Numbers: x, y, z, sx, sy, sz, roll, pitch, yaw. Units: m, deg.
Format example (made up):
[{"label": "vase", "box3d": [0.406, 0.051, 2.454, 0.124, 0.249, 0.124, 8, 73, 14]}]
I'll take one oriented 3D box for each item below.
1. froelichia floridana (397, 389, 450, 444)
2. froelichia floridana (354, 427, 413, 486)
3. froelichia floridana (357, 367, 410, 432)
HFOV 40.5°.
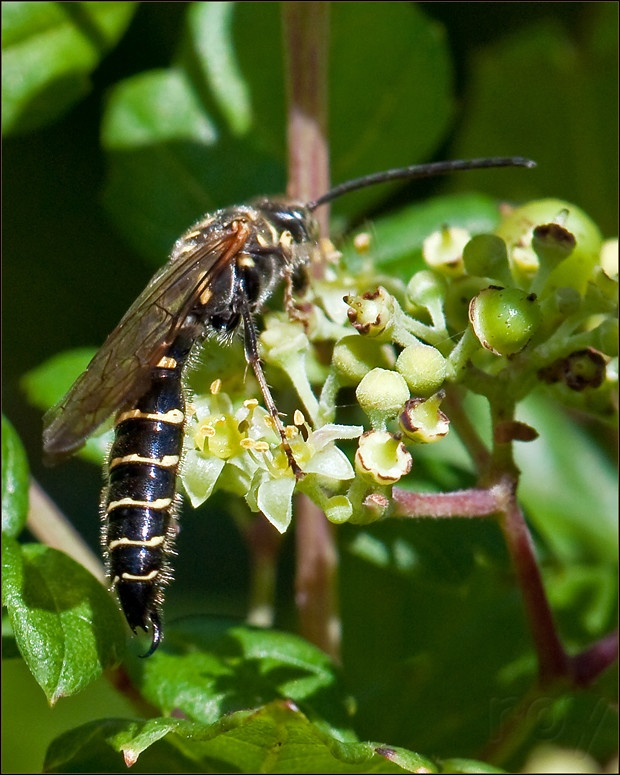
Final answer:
[{"label": "froelichia floridana", "box3d": [0.154, 0.040, 1.153, 0.063, 0.082, 0.061, -34, 72, -27]}, {"label": "froelichia floridana", "box3d": [0.089, 0.100, 1.153, 0.077, 0.080, 0.068, -17, 80, -13]}, {"label": "froelichia floridana", "box3d": [0.103, 0.018, 1.173, 0.085, 0.047, 0.079, 3, 95, 2]}]
